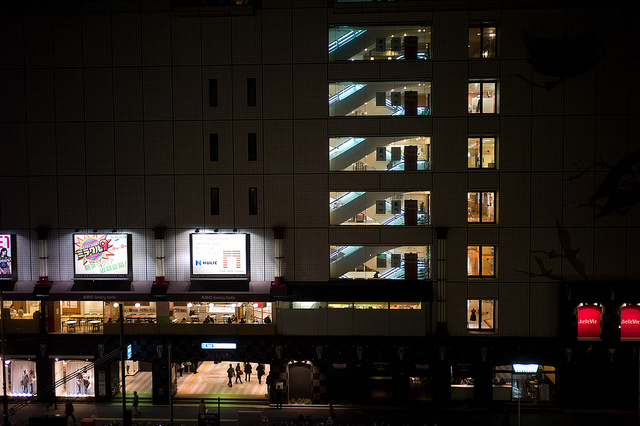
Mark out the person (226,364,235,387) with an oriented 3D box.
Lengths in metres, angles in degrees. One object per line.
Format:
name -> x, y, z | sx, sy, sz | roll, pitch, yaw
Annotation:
person -> -6.434, 11.777, 73.393 | 0.497, 1.601, 1.022 | 0, -9, -5

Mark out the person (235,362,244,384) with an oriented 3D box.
person -> -5.894, 11.627, 73.717 | 0.547, 1.478, 1.437 | 0, -9, -5

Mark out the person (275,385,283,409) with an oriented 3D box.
person -> -2.811, 12.796, 70.881 | 0.588, 1.679, 0.231 | 2, -9, -12

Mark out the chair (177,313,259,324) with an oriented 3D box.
chair -> -7.391, 7.508, 71.569 | 4.412, 0.553, 0.317 | -1, -9, 2

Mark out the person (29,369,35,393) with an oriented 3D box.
person -> -20.248, 11.922, 71.656 | 0.458, 1.615, 0.354 | -1, -9, 3

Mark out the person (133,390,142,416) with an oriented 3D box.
person -> -12.804, 13.311, 70.811 | 0.491, 1.620, 1.299 | 1, -9, -10

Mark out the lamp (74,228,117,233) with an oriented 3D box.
lamp -> -15.517, 1.259, 70.665 | 1.965, 0.259, 0.150 | 1, -4, -1

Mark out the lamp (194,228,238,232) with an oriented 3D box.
lamp -> -7.228, 1.226, 70.532 | 2.202, 0.306, 0.182 | 1, -4, 2

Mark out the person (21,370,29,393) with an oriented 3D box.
person -> -20.748, 11.935, 71.723 | 0.496, 1.618, 0.334 | 2, -9, -13

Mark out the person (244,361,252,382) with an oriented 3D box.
person -> -5.233, 11.539, 73.568 | 0.490, 1.343, 1.391 | 0, -9, -3
